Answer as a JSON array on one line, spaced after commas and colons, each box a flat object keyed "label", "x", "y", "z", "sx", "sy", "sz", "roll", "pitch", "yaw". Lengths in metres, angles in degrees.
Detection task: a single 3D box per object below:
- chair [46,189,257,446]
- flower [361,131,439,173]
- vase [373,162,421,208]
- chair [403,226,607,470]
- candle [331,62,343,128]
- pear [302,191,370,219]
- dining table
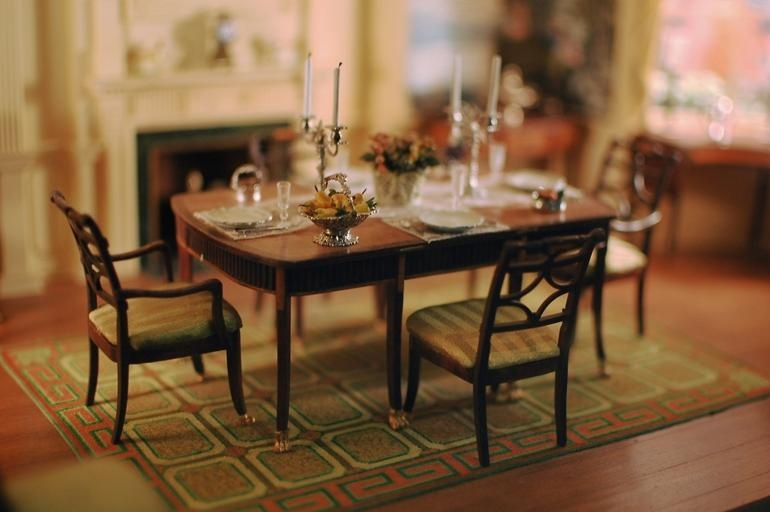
[{"label": "chair", "x": -1.045, "y": 0.240, "z": 3.097, "sx": 0.800, "sy": 0.952, "sz": 0.682, "roll": -7, "pitch": 21, "yaw": -40}, {"label": "flower", "x": 0.148, "y": -0.534, "z": 3.533, "sx": 0.455, "sy": 0.199, "sz": 0.446, "roll": -8, "pitch": 11, "yaw": -10}, {"label": "vase", "x": 0.070, "y": -0.369, "z": 3.413, "sx": 0.224, "sy": 0.142, "sz": 0.215, "roll": 4, "pitch": 9, "yaw": 10}, {"label": "chair", "x": 0.479, "y": 0.346, "z": 3.086, "sx": 0.650, "sy": 0.977, "sz": 0.777, "roll": -5, "pitch": 15, "yaw": -18}, {"label": "candle", "x": -0.221, "y": -0.781, "z": 3.244, "sx": 0.063, "sy": 0.314, "sz": 0.061, "roll": 4, "pitch": -6, "yaw": -10}, {"label": "pear", "x": -0.208, "y": -0.219, "z": 2.914, "sx": 0.194, "sy": 0.064, "sz": 0.187, "roll": -4, "pitch": 6, "yaw": -29}, {"label": "dining table", "x": -0.336, "y": 0.260, "z": 3.814, "sx": 1.311, "sy": 0.739, "sz": 1.970, "roll": -9, "pitch": 7, "yaw": -29}]
